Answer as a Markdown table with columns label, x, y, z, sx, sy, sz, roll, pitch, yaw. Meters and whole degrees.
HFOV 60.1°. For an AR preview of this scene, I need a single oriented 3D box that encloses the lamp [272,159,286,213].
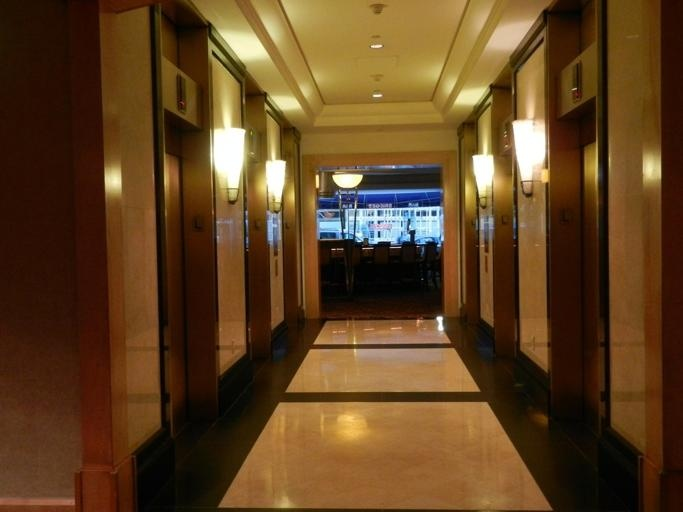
| label | x | y | z | sx | sy | sz | roll | pitch | yaw |
| --- | --- | --- | --- | --- | --- | --- | --- | --- | --- |
| lamp | -0.750 | -0.843 | 7.055 | 0.144 | 0.613 | 0.343 | -1 | 4 | -7 |

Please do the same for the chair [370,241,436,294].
| label | x | y | z | sx | sy | sz | roll | pitch | yaw |
| --- | --- | --- | --- | --- | --- | --- | --- | --- | --- |
| chair | 1.407 | 0.211 | 13.048 | 1.042 | 0.810 | 1.136 | 0 | -1 | -6 |

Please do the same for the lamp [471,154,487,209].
| label | x | y | z | sx | sy | sz | roll | pitch | yaw |
| --- | --- | --- | --- | --- | --- | --- | --- | --- | --- |
| lamp | 1.632 | -0.873 | 6.959 | 0.149 | 0.607 | 0.363 | 0 | 4 | 14 |

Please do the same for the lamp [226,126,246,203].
| label | x | y | z | sx | sy | sz | roll | pitch | yaw |
| --- | --- | --- | --- | --- | --- | --- | --- | --- | --- |
| lamp | -0.916 | -0.766 | 5.074 | 0.145 | 0.619 | 0.230 | -1 | 4 | -12 |

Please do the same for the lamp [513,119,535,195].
| label | x | y | z | sx | sy | sz | roll | pitch | yaw |
| --- | --- | --- | --- | --- | --- | --- | --- | --- | --- |
| lamp | 1.542 | -0.822 | 5.028 | 0.173 | 0.638 | 0.238 | 1 | 4 | 19 |

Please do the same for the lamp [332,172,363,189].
| label | x | y | z | sx | sy | sz | roll | pitch | yaw |
| --- | --- | --- | --- | --- | --- | --- | --- | --- | --- |
| lamp | 0.103 | -1.746 | 13.567 | 0.602 | 0.372 | 0.531 | -1 | 5 | -10 |
